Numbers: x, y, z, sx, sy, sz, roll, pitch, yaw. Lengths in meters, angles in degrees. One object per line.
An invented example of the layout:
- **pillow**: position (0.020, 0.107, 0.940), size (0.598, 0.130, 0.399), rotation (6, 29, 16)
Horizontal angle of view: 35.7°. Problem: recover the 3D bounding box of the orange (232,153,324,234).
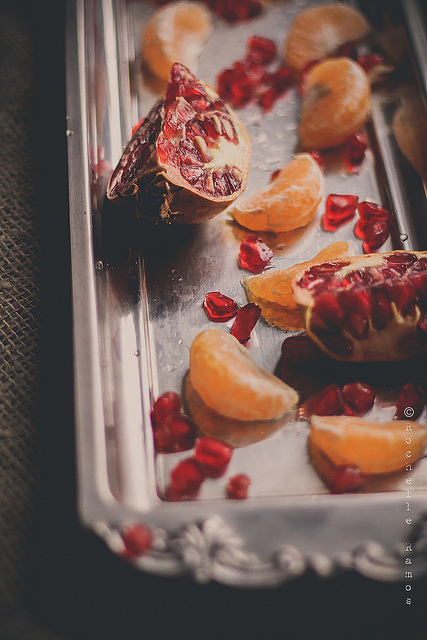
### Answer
- **orange**: position (0.083, -0.169, 0.867), size (0.132, 0.077, 0.034), rotation (-30, 45, 14)
